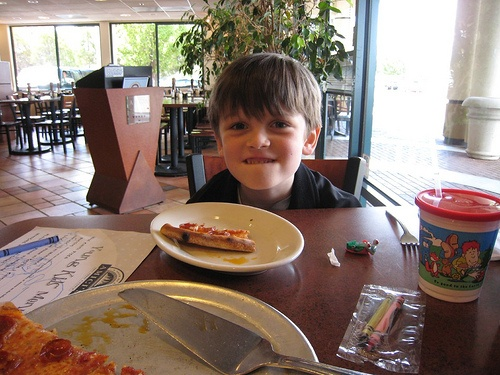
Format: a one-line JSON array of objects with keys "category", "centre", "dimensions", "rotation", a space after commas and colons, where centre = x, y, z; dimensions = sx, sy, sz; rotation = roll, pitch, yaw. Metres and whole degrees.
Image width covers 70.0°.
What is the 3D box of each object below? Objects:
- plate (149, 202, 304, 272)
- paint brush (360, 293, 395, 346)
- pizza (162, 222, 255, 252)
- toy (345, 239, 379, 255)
[{"category": "plate", "centre": [-0.045, 0.107, 0.817], "dimensions": [0.341, 0.046, 0.350], "rotation": [9, 17, 1]}, {"category": "paint brush", "centre": [0.208, 0.219, 0.586], "dimensions": [0.015, 0.015, 0.105], "rotation": [37, 39, 24]}, {"category": "pizza", "centre": [-0.090, 0.111, 0.803], "dimensions": [0.146, 0.029, 0.086], "rotation": [7, -1, 6]}, {"category": "toy", "centre": [0.249, 0.124, 0.779], "dimensions": [0.043, 0.018, 0.037], "rotation": [2, 6, 9]}]
